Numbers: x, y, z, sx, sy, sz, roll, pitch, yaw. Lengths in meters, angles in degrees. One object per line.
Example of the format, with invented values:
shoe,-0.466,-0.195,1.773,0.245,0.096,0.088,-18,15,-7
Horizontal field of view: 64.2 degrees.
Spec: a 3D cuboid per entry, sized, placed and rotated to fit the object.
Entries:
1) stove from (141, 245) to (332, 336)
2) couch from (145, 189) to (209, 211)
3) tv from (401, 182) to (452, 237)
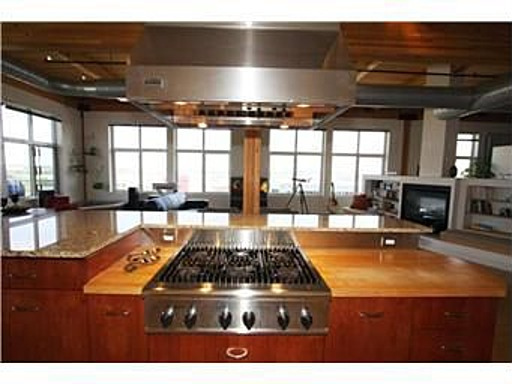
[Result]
stove,-0.128,0.764,3.203,0.942,0.301,0.687,0,8,0
couch,-1.409,0.150,7.573,0.600,0.488,2.067,0,-6,4
tv,2.611,0.249,6.156,0.241,0.597,0.839,3,1,-8
